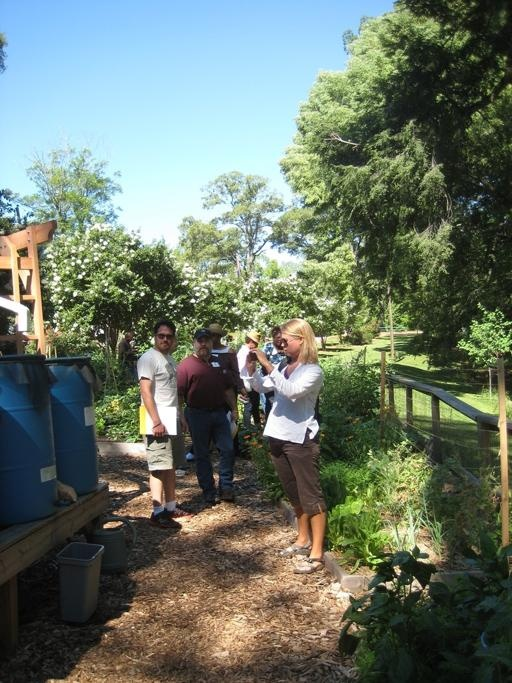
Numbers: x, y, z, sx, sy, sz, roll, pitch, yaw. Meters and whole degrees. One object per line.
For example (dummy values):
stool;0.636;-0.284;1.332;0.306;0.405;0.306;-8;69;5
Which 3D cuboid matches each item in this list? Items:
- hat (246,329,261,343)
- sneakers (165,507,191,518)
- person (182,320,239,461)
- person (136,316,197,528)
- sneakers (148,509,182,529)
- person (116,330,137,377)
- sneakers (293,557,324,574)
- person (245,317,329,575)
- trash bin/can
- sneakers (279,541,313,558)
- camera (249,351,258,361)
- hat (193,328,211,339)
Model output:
hat;-0.027;-0.078;7.486;0.190;0.086;0.221;38;-15;12
sneakers;-0.679;1.459;4.892;0.253;0.105;0.094;2;2;-11
person;-0.547;0.701;6.391;0.891;1.848;0.550;-1;27;-8
person;-0.785;0.671;4.800;0.383;1.693;0.547;-1;2;3
sneakers;-0.764;1.436;4.722;0.285;0.122;0.136;4;4;33
person;-2.713;0.271;11.999;0.397;0.970;1.709;-2;2;-13
sneakers;0.328;1.413;3.613;0.172;0.057;0.083;2;3;-14
person;0.203;0.672;3.834;0.503;1.640;0.605;-1;2;-1
trash bin/can;-0.906;1.282;3.005;0.203;0.299;0.268;-1;-11;17
sneakers;0.274;1.448;3.978;0.235;0.085;0.079;2;3;-2
camera;-0.020;0.097;3.815;0.052;0.024;0.069;4;11;-3
hat;-0.497;-0.076;5.218;0.140;0.091;0.216;3;-6;-10
